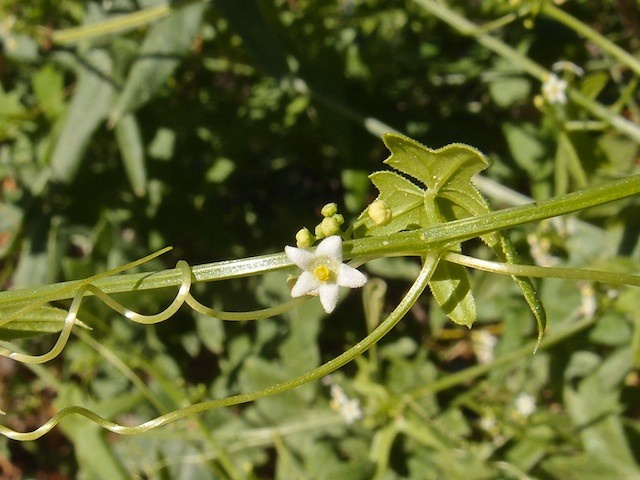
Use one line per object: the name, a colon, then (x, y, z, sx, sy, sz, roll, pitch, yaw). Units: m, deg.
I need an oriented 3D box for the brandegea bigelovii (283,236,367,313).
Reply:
brandegea bigelovii: (-0.006, 0.076, 1.456, 0.200, 0.048, 0.219, 7, 40, -8)
